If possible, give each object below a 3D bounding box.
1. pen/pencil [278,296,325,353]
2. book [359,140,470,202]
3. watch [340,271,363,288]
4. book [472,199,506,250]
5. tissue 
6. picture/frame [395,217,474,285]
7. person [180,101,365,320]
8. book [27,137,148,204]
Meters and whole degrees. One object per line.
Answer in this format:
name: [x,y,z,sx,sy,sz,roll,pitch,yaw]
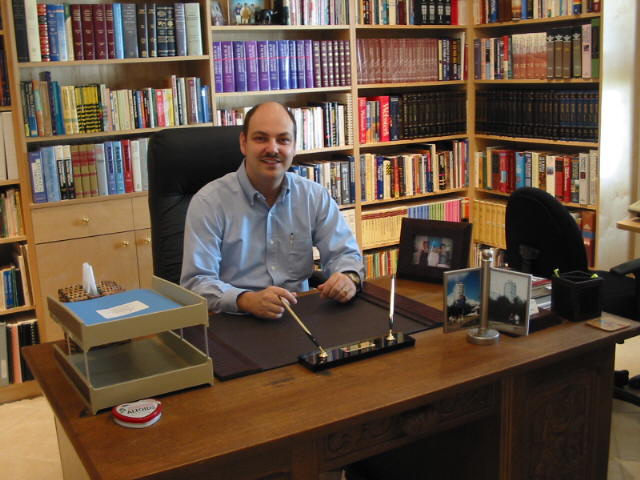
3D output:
pen/pencil: [-0.062,0.272,1.662,0.024,0.165,0.023,-43,26,-21]
book: [0.739,-0.529,4.107,1.168,0.535,0.449,-5,10,-26]
watch: [0.117,0.142,1.964,0.065,0.034,0.050,23,-14,34]
book: [1.335,-0.138,4.155,0.261,0.350,0.363,-2,9,-20]
tissue : [-0.642,0.215,1.644,0.273,0.072,0.269,-9,19,-34]
picture/frame: [0.420,0.045,1.964,0.310,0.300,0.100,10,11,22]
person: [-0.198,0.017,2.180,0.765,1.088,0.624,0,7,-17]
book: [-1.359,-0.421,3.149,0.674,0.328,0.057,-9,14,-24]
